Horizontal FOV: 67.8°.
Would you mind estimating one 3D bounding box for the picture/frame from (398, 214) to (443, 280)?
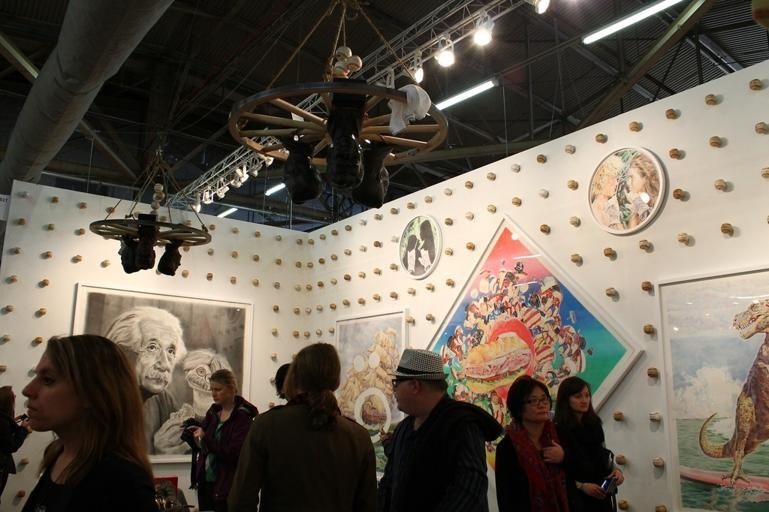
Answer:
[{"bbox_3d":[0.518,-0.103,7.871,0.121,0.972,0.793,10,-3,-37],"label":"picture/frame"}]

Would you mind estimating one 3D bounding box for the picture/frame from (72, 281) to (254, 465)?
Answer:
[{"bbox_3d":[-3.112,1.732,8.319,2.440,2.354,0.153,6,5,6],"label":"picture/frame"}]
